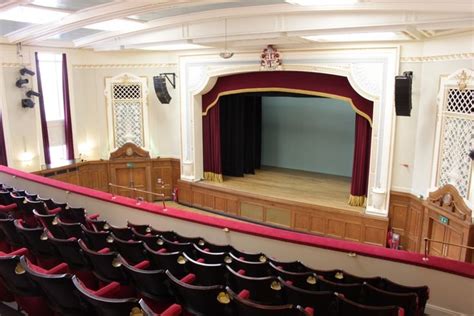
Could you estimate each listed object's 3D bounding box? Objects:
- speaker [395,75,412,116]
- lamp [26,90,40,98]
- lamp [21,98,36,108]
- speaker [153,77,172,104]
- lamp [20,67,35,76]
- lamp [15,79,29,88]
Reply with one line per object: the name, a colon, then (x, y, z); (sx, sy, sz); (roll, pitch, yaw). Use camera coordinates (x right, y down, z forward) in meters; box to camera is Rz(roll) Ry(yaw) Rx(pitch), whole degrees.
speaker: (3.733, -1.411, 7.289); (0.359, 0.900, 0.486); (7, 10, 27)
lamp: (-6.465, -2.044, 10.396); (0.331, 0.238, 0.412); (4, 9, 13)
lamp: (-6.606, -1.720, 10.264); (0.348, 0.324, 0.323); (-4, 11, -34)
speaker: (-2.552, -2.348, 11.188); (0.453, 0.924, 0.712); (3, 9, 3)
lamp: (-6.517, -2.680, 10.154); (0.399, 0.234, 0.410); (8, 10, 36)
lamp: (-6.656, -2.303, 10.069); (0.369, 0.149, 0.281); (-7, -2, 21)
